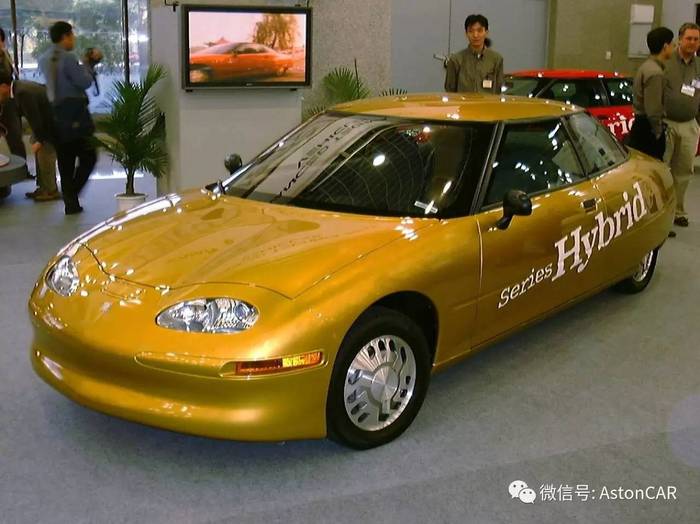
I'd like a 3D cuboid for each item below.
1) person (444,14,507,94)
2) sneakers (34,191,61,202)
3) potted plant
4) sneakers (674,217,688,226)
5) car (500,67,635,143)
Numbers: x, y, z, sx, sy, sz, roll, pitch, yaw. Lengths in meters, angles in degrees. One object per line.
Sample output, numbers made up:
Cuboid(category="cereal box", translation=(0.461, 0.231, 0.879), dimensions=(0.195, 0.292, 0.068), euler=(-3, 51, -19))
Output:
Cuboid(category="person", translation=(1.566, -2.601, 6.701), dimensions=(0.683, 0.895, 0.349), euler=(2, 17, 10))
Cuboid(category="sneakers", translation=(-4.503, -0.967, 7.954), dimensions=(0.373, 0.163, 0.155), euler=(0, 13, -25))
Cuboid(category="potted plant", translation=(-2.959, -1.657, 7.147), dimensions=(1.233, 2.202, 1.125), euler=(6, 5, 25))
Cuboid(category="sneakers", translation=(4.214, -0.515, 6.779), dimensions=(0.206, 0.099, 0.080), euler=(-3, 17, 4))
Cuboid(category="car", translation=(3.611, -2.794, 8.709), dimensions=(3.171, 1.252, 1.396), euler=(-14, 23, -32))
